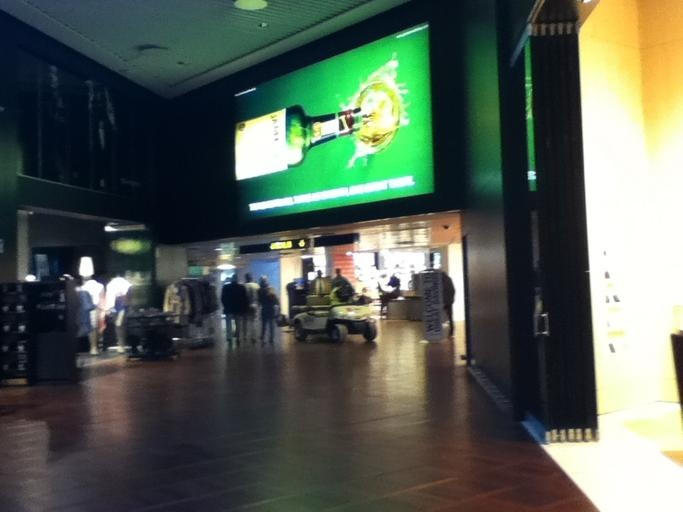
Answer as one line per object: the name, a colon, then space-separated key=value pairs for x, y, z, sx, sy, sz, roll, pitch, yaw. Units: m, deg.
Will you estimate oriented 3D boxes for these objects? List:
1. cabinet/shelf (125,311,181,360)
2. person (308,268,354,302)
cabinet/shelf: x=-4.009 y=1.661 z=12.256 sx=0.972 sy=0.789 sz=1.056 roll=0 pitch=-2 yaw=3
person: x=-0.267 y=0.798 z=14.897 sx=0.795 sy=0.593 sz=0.796 roll=-1 pitch=-2 yaw=7
